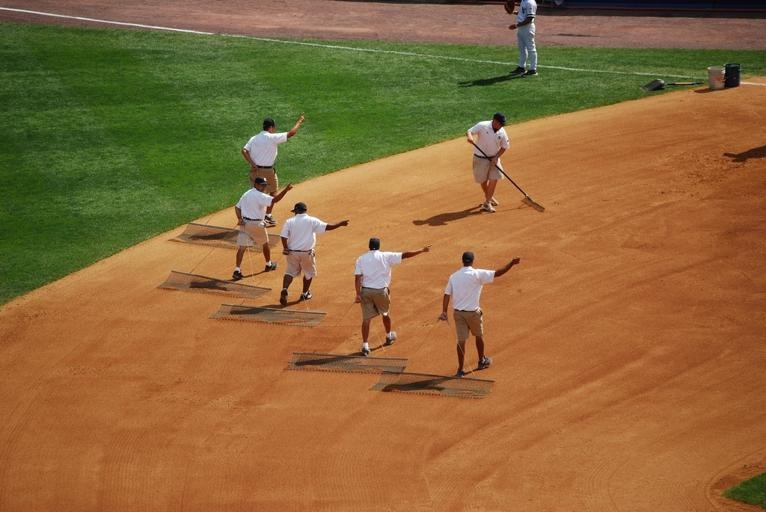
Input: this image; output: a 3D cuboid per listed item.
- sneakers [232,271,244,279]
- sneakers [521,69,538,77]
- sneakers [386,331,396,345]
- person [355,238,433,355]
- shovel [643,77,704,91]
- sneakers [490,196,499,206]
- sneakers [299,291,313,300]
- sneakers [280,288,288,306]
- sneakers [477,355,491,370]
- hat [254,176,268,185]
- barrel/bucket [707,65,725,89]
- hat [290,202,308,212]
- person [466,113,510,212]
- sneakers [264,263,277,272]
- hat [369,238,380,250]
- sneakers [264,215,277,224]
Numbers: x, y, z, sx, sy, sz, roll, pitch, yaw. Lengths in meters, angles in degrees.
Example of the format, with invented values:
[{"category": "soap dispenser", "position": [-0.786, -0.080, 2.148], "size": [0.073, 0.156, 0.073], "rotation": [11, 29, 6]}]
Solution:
[{"category": "sneakers", "position": [-3.527, 0.445, 19.172], "size": [0.146, 0.177, 0.282], "rotation": [20, 24, 24]}, {"category": "sneakers", "position": [5.331, -6.648, 28.801], "size": [0.530, 0.175, 0.179], "rotation": [3, 6, 0]}, {"category": "sneakers", "position": [0.179, 1.779, 17.209], "size": [0.150, 0.231, 0.243], "rotation": [34, 61, 32]}, {"category": "person", "position": [-0.067, 0.792, 16.903], "size": [1.375, 2.370, 0.767], "rotation": [-16, 24, -17]}, {"category": "shovel", "position": [10.046, -5.995, 27.539], "size": [2.092, 0.345, 0.782], "rotation": [-10, 21, -11]}, {"category": "sneakers", "position": [3.046, -1.509, 21.630], "size": [0.130, 0.137, 0.330], "rotation": [-14, 22, 12]}, {"category": "sneakers", "position": [-1.782, 0.890, 18.552], "size": [0.145, 0.136, 0.314], "rotation": [2, 28, 24]}, {"category": "sneakers", "position": [-2.248, 0.932, 18.182], "size": [0.191, 0.374, 0.185], "rotation": [5, 8, 7]}, {"category": "sneakers", "position": [2.100, 2.192, 16.553], "size": [0.174, 0.215, 0.351], "rotation": [18, 34, 36]}, {"category": "hat", "position": [-2.860, -1.785, 18.812], "size": [0.280, 0.170, 0.353], "rotation": [10, 23, 14]}, {"category": "barrel/bucket", "position": [11.287, -6.058, 26.993], "size": [0.778, 0.714, 0.749], "rotation": [-5, 17, 1]}, {"category": "hat", "position": [-1.895, -1.080, 18.003], "size": [0.334, 0.243, 0.467], "rotation": [-9, 13, -41]}, {"category": "person", "position": [2.791, -2.510, 21.206], "size": [0.978, 2.546, 0.942], "rotation": [-25, 28, -34]}, {"category": "sneakers", "position": [-2.749, 0.263, 19.580], "size": [0.155, 0.145, 0.341], "rotation": [3, 22, 24]}, {"category": "hat", "position": [-0.172, -0.269, 16.796], "size": [0.214, 0.284, 0.350], "rotation": [-9, 21, -2]}, {"category": "sneakers", "position": [-3.045, -0.961, 21.289], "size": [0.430, 0.265, 0.136], "rotation": [2, 41, -12]}]
